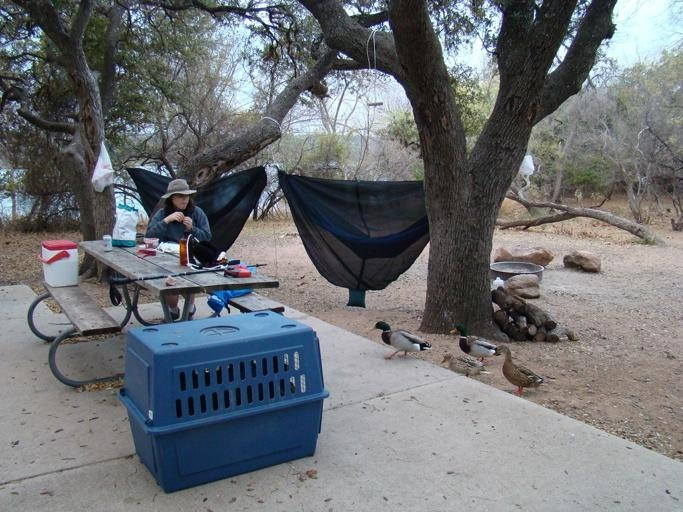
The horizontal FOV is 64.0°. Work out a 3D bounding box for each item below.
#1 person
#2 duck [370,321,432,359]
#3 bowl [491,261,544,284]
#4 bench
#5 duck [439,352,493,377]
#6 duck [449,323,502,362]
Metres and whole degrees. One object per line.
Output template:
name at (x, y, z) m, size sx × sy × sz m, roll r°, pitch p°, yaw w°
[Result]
person at (-1.868, 0.000, 6.239) m, size 0.788 × 1.539 × 0.678 m, roll -3°, pitch 2°, yaw -27°
duck at (0.658, 0.876, 5.736) m, size 0.643 × 0.332 × 0.271 m, roll 5°, pitch -1°, yaw 12°
bowl at (3.416, 0.292, 10.569) m, size 0.921 × 0.259 × 1.294 m, roll 4°, pitch 10°, yaw 14°
bench at (-1.520, 0.674, 5.440) m, size 1.853 × 1.398 × 2.694 m, roll -3°, pitch 13°, yaw -26°
duck at (1.287, 1.102, 5.538) m, size 0.497 × 0.266 × 0.194 m, roll 4°, pitch -13°, yaw 16°
duck at (1.471, 0.941, 6.072) m, size 0.639 × 0.364 × 0.574 m, roll 5°, pitch 7°, yaw 2°
